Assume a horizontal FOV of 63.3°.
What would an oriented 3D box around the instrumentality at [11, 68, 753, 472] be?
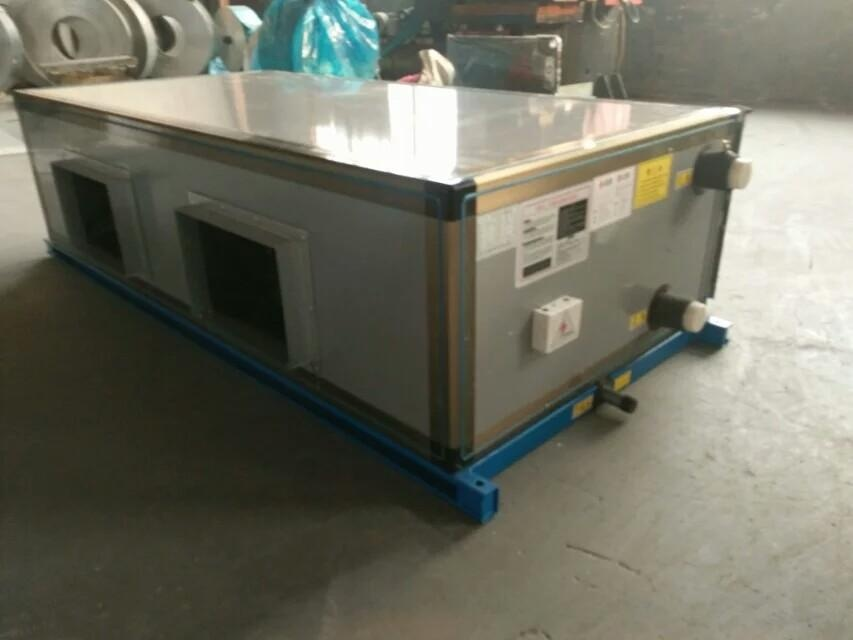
[{"bbox_3d":[-0.198,-0.270,1.543,1.424,0.438,0.868,24,36,36],"label":"instrumentality"}]
